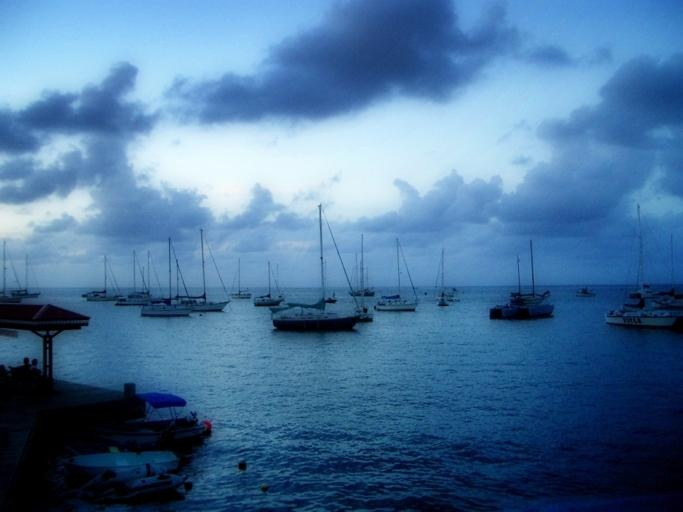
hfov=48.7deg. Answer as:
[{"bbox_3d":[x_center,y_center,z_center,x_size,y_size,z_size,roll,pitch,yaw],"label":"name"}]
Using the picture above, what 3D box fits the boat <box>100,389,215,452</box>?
[{"bbox_3d":[-11.682,10.599,48.128,6.082,2.904,3.002,-1,1,-18],"label":"boat"}]
